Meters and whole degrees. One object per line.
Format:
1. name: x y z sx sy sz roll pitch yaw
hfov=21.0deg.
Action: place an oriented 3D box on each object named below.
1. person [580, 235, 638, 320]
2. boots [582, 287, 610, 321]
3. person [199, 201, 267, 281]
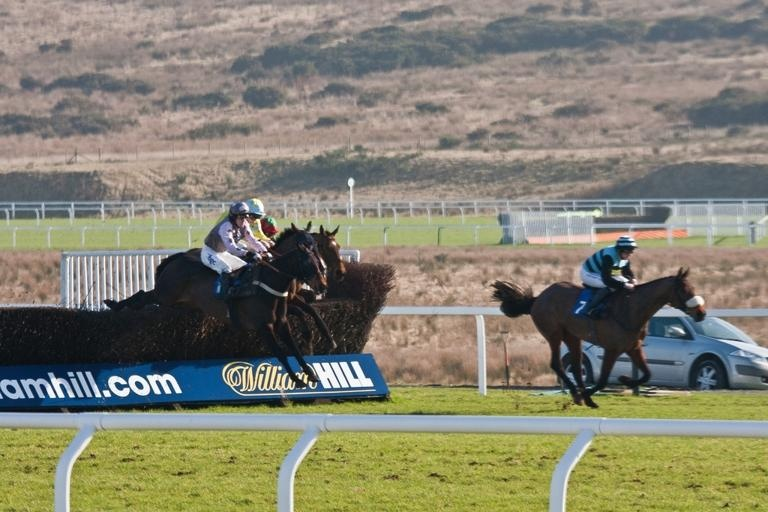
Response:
1. person: 5.618 0.561 50.580 1.454 1.982 0.947 15 14 25
2. boots: 5.301 1.203 50.269 0.536 0.811 0.241 17 -14 42
3. person: -3.720 -0.325 50.803 1.146 2.206 1.558 2 0 -15
